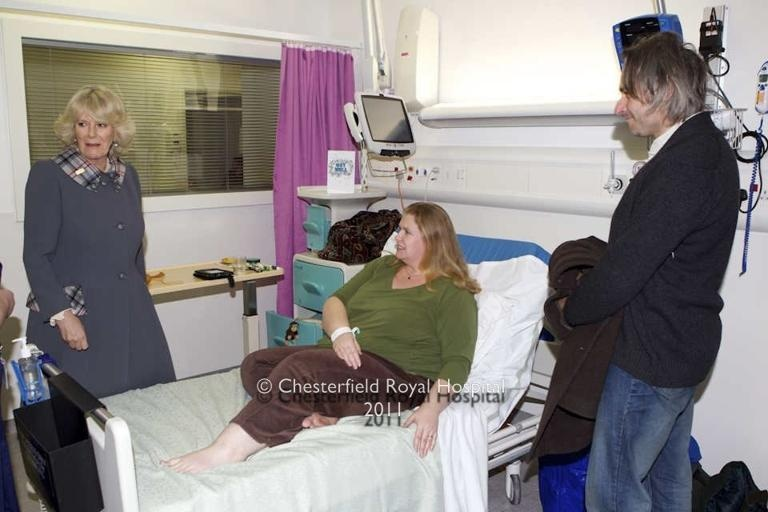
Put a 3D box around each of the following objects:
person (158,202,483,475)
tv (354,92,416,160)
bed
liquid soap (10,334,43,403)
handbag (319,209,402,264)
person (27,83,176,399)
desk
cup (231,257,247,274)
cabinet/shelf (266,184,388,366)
[{"bbox_3d":[-0.170,0.326,2.616,1.307,0.853,0.953,-6,19,-27],"label":"person"},{"bbox_3d":[0.020,-0.900,3.812,0.508,0.563,0.076,1,-23,-33],"label":"tv"},{"bbox_3d":[-0.302,0.500,3.041,2.248,1.324,1.365,-2,3,-33],"label":"bed"},{"bbox_3d":[-1.408,0.458,2.197,0.092,0.288,0.225,-10,12,-34],"label":"liquid soap"},{"bbox_3d":[-0.157,-0.134,3.794,0.323,0.163,0.485,9,27,33],"label":"handbag"},{"bbox_3d":[-1.440,-0.046,2.689,0.611,1.514,0.290,-11,12,-35],"label":"person"},{"bbox_3d":[-1.217,0.318,3.974,1.004,0.977,0.531,-5,8,-32],"label":"desk"},{"bbox_3d":[-1.005,0.073,3.838,0.088,0.099,0.087,0,7,0],"label":"cup"},{"bbox_3d":[-0.402,0.171,3.930,0.813,1.270,0.857,5,10,26],"label":"cabinet/shelf"}]
